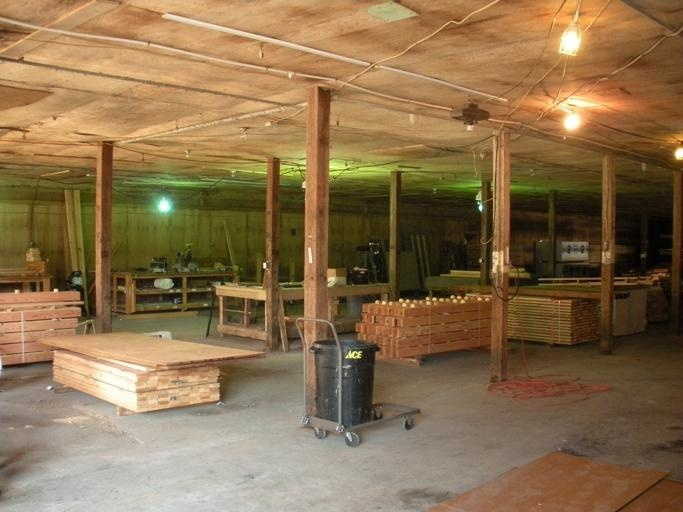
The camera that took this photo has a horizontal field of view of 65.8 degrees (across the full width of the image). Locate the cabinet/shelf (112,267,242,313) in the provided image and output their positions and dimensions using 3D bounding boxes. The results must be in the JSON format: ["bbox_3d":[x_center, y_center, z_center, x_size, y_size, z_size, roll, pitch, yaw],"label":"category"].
[{"bbox_3d":[-4.851,1.129,16.454,3.416,0.717,1.055,-2,1,-11],"label":"cabinet/shelf"}]

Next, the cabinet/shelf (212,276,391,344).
[{"bbox_3d":[-1.693,1.221,12.564,3.620,0.848,2.129,0,0,-37],"label":"cabinet/shelf"}]

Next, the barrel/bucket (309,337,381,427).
[{"bbox_3d":[-0.016,1.446,6.138,0.657,0.903,0.527,1,3,31],"label":"barrel/bucket"}]
